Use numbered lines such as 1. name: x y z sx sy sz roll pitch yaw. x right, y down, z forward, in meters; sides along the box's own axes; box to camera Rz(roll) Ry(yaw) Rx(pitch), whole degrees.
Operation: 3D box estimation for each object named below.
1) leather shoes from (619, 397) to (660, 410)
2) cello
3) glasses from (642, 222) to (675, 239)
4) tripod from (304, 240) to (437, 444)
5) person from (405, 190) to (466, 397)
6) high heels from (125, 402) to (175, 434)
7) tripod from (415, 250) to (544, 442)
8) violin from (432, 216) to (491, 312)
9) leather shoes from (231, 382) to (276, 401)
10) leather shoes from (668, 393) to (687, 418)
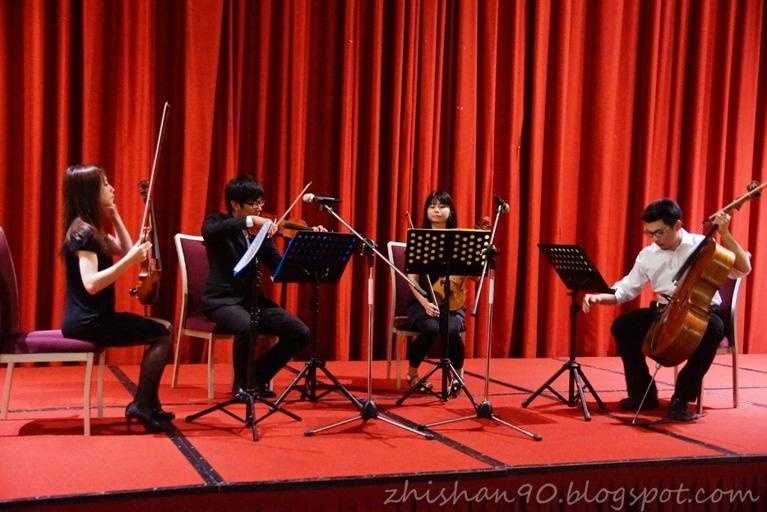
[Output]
1. leather shoes: 1.742 0.990 5.544 0.240 0.109 0.100 3 -6 0
2. cello: 1.948 0.245 5.289 0.474 0.909 0.389 -1 3 -17
3. glasses: 1.864 -0.170 5.477 0.131 0.045 0.127 11 -11 -30
4. tripod: 0.007 0.591 5.433 1.017 1.529 1.038 0 -4 15
5. person: 0.369 0.253 5.830 0.292 1.397 0.482 6 4 18
6. high heels: -1.422 0.985 4.974 0.280 0.147 0.155 6 4 -28
7. tripod: 0.636 0.681 5.709 0.887 1.344 0.990 4 -6 -11
8. violin: 0.522 0.111 5.723 0.340 0.741 0.203 17 10 33
9. leather shoes: -0.891 0.909 5.448 0.349 0.161 0.121 4 1 -5
10. leather shoes: 1.940 0.997 5.355 0.126 0.149 0.106 1 3 20
